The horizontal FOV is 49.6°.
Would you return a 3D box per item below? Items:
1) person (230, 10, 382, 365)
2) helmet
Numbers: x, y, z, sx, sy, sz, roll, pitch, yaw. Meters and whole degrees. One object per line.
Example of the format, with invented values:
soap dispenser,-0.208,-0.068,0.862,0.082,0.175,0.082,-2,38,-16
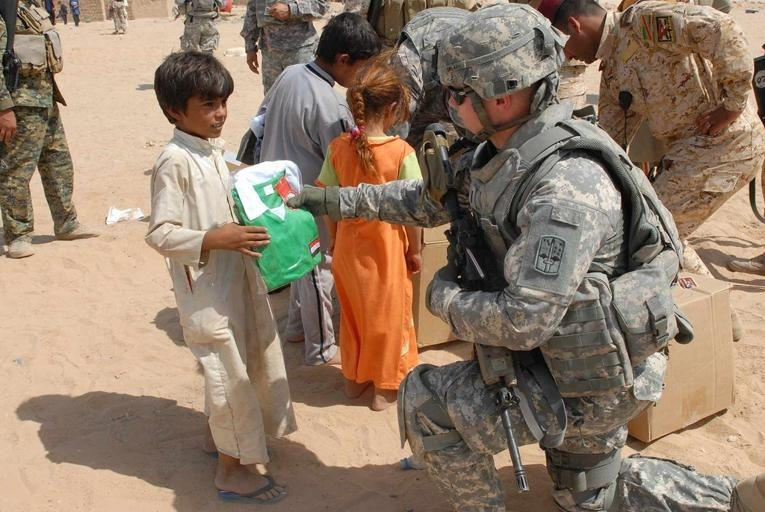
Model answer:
person,-0.549,-0.576,6.611,1.094,2.751,1.033,-10,21,-28
helmet,0.668,-1.161,4.659,0.664,0.379,0.493,-8,32,9
